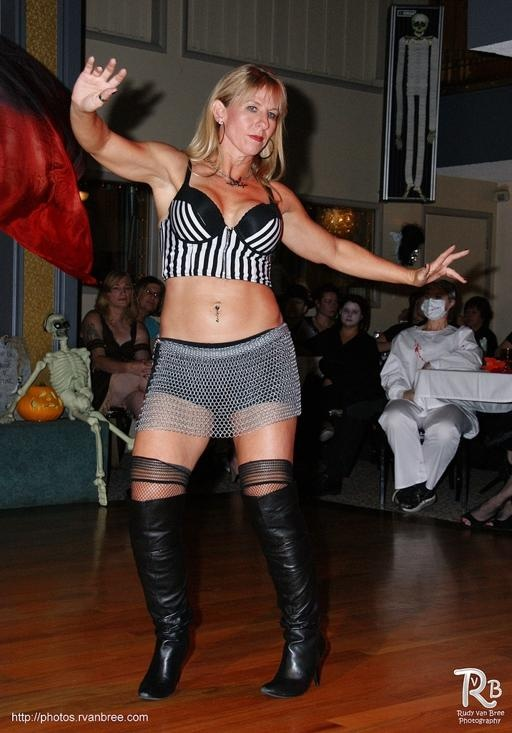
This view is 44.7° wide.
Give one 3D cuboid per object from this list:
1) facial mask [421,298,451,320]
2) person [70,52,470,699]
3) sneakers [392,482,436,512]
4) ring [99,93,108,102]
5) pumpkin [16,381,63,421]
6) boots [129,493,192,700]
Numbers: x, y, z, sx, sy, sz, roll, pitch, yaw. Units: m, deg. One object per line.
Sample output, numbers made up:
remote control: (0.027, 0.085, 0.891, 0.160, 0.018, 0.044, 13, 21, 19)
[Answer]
facial mask: (1.161, -0.379, 4.035, 0.135, 0.117, 0.157, 4, 5, 37)
person: (-0.055, 0.033, 1.315, 0.838, 1.322, 0.343, 7, -9, -39)
sneakers: (0.887, 0.742, 3.595, 0.324, 0.192, 0.111, 0, 11, 5)
ring: (-0.263, -0.457, 1.067, 0.016, 0.006, 0.017, 8, -12, 2)
pumpkin: (-1.296, 0.202, 3.730, 0.238, 0.198, 0.227, -1, 1, -34)
boots: (-0.196, 0.471, 1.276, 0.117, 0.425, 0.211, 2, -7, 2)
